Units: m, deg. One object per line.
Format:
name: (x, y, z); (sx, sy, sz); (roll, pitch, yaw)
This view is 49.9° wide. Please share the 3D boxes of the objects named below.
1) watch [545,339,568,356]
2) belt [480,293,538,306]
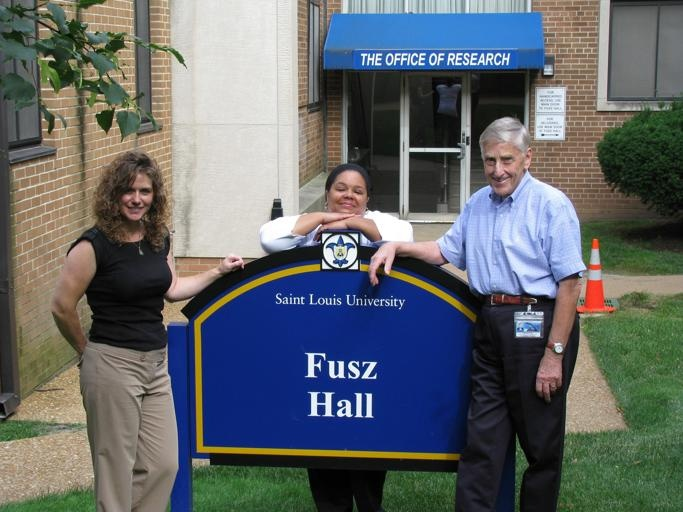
watch: (1.037, 0.442, 3.543); (0.082, 0.056, 0.076); (21, -6, -29)
belt: (0.842, 0.214, 3.617); (0.259, 0.052, 0.044); (1, 11, 5)
